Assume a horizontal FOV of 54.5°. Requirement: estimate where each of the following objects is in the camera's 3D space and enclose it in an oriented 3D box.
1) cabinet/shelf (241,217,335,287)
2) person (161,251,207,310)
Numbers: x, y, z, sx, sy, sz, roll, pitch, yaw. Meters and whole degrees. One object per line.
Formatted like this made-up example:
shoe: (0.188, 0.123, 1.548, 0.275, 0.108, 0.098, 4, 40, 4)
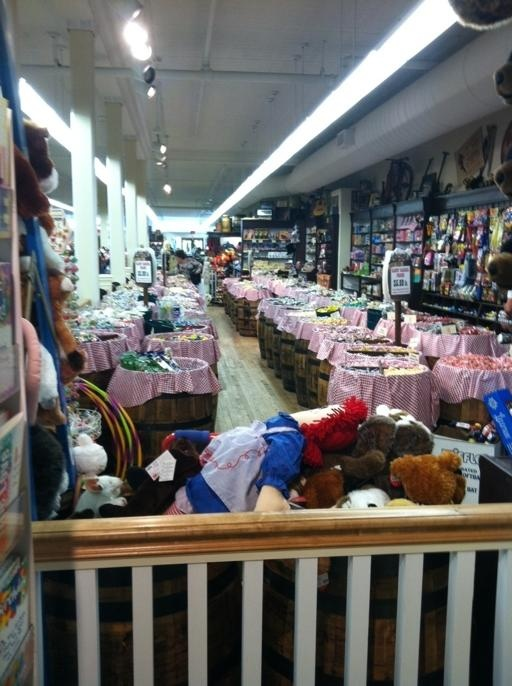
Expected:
cabinet/shelf: (1.216, -3.079, 18.321, 3.289, 2.937, 1.218, 0, -3, -2)
person: (-1.948, -1.993, 14.302, 0.756, 1.356, 0.595, -12, 29, -14)
